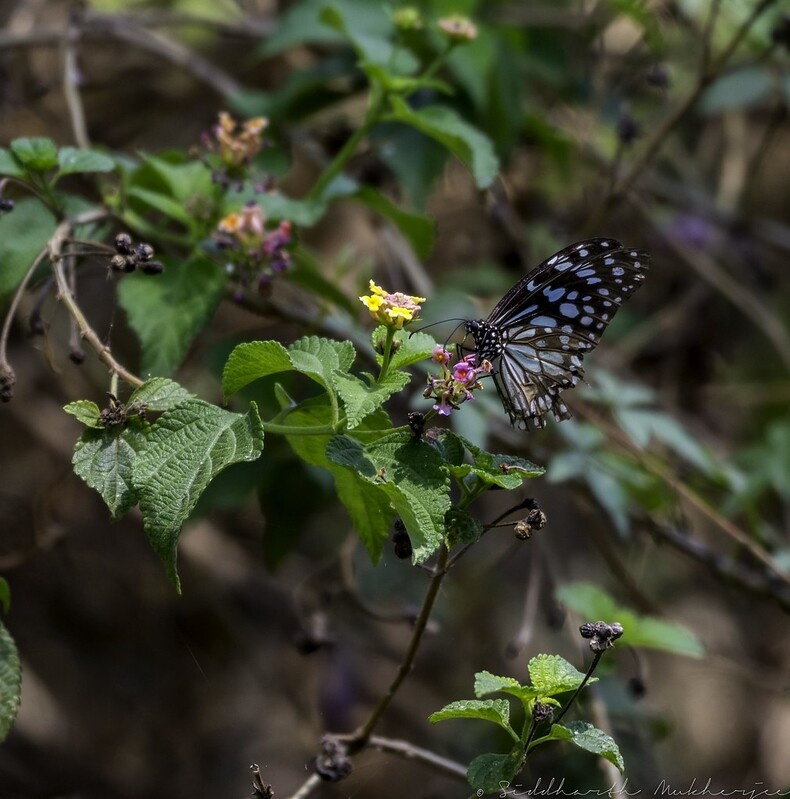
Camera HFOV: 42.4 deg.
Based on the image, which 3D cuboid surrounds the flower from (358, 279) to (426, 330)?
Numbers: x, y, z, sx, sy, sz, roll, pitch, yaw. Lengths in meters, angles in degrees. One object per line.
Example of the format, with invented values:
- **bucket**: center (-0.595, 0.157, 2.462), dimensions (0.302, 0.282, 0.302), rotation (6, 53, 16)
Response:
- **flower**: center (-0.003, -0.199, 2.136), dimensions (0.136, 0.051, 0.113), rotation (8, 15, 2)

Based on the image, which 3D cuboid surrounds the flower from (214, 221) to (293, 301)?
- **flower**: center (-0.355, -0.341, 2.590), dimensions (0.246, 0.145, 0.216), rotation (-6, 50, -9)

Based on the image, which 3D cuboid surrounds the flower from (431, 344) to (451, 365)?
- **flower**: center (0.107, -0.093, 2.088), dimensions (0.026, 0.035, 0.049), rotation (-23, 29, -28)

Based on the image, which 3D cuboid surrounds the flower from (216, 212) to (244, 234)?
- **flower**: center (-0.406, -0.431, 2.528), dimensions (0.060, 0.031, 0.079), rotation (-29, 12, -16)

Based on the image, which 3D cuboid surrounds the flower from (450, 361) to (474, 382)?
- **flower**: center (0.146, -0.057, 2.078), dimensions (0.043, 0.040, 0.030), rotation (6, 35, -15)

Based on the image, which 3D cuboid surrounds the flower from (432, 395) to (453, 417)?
- **flower**: center (0.102, 0.013, 2.098), dimensions (0.032, 0.012, 0.038), rotation (14, 44, -7)

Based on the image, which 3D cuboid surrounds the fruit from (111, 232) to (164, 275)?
- **fruit**: center (-0.572, -0.326, 2.251), dimensions (0.129, 0.110, 0.042), rotation (13, 31, 21)
